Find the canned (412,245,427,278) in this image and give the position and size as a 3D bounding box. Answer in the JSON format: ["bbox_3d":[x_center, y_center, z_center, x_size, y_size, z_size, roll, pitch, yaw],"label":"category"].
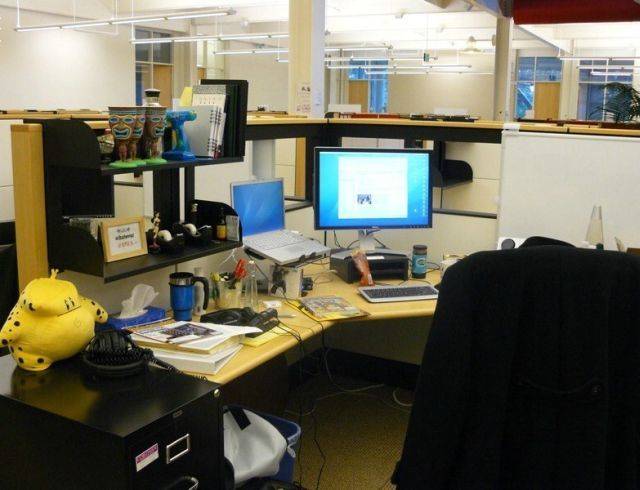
[{"bbox_3d":[0.547,0.095,2.942,0.096,0.189,0.097,-6,-5,22],"label":"canned"}]

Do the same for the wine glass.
[{"bbox_3d":[-0.702,-0.415,2.038,0.098,0.213,0.236,5,10,19],"label":"wine glass"}]

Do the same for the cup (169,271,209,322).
[{"bbox_3d":[-0.565,0.228,2.305,0.189,0.230,0.126,-1,2,-33],"label":"cup"}]

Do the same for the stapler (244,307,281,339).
[{"bbox_3d":[-0.236,0.322,2.243,0.108,0.049,0.291,6,15,13],"label":"stapler"}]

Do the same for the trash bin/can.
[{"bbox_3d":[-0.242,0.780,2.075,0.311,0.335,0.139,10,-20,-22],"label":"trash bin/can"}]

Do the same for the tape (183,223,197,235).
[{"bbox_3d":[-0.580,-0.073,2.393,0.044,0.022,0.061,22,22,-49],"label":"tape"}]

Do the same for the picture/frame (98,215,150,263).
[{"bbox_3d":[-0.767,-0.031,2.121,0.196,0.154,0.020,-9,-1,19],"label":"picture/frame"}]

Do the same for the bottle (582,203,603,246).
[{"bbox_3d":[1.276,-0.087,2.460,0.086,0.189,0.324,9,15,27],"label":"bottle"}]

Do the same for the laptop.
[{"bbox_3d":[-0.198,-0.143,2.715,0.402,0.316,0.374,21,21,36],"label":"laptop"}]

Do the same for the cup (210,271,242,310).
[{"bbox_3d":[-0.423,0.204,2.411,0.132,0.162,0.150,-1,5,-9],"label":"cup"}]

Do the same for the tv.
[{"bbox_3d":[0.305,-0.247,2.946,0.634,0.460,0.048,0,5,-7],"label":"tv"}]

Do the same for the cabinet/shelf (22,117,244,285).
[{"bbox_3d":[-0.838,-0.221,2.371,0.360,0.746,0.946,10,19,10],"label":"cabinet/shelf"}]
